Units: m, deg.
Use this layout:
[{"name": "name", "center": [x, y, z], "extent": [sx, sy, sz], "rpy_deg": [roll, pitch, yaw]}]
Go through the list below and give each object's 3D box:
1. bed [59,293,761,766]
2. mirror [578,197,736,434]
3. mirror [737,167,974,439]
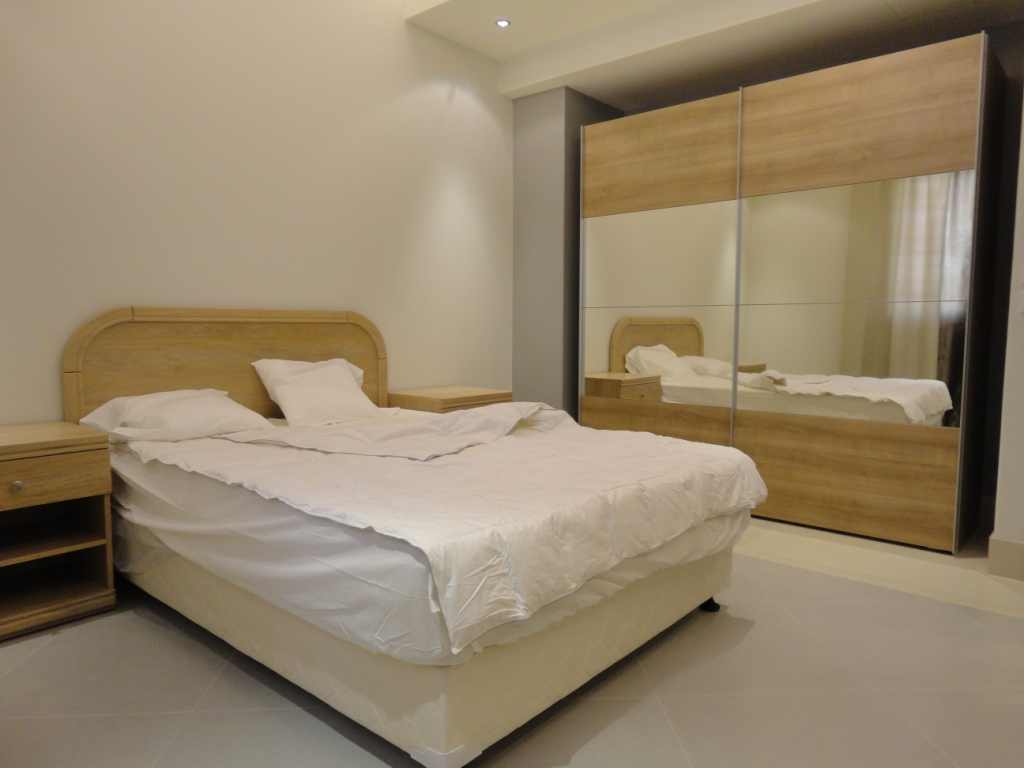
[{"name": "bed", "center": [-0.736, 0.442, 3.318], "extent": [2.605, 1.415, 1.848], "rpy_deg": [9, 12, 41]}, {"name": "mirror", "center": [1.028, -0.474, 4.869], "extent": [0.590, 1.578, 1.578], "rpy_deg": [-4, 6, -45]}, {"name": "mirror", "center": [2.019, -0.472, 4.106], "extent": [1.537, 2.014, 0.024], "rpy_deg": [6, 9, 43]}]
